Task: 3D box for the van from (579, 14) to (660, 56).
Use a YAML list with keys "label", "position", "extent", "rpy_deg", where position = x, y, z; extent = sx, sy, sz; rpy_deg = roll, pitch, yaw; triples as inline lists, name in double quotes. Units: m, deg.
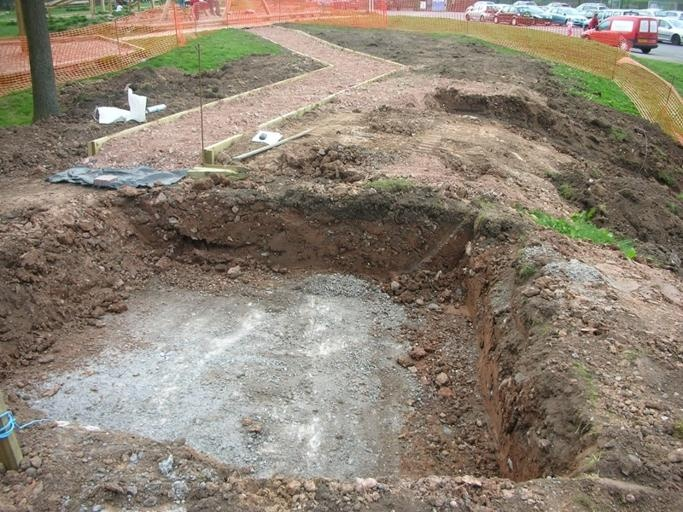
- label: "van"
  position: [13.440, -10.518, 25.856]
  extent: [2.964, 1.340, 1.001]
  rpy_deg: [12, 30, 17]
